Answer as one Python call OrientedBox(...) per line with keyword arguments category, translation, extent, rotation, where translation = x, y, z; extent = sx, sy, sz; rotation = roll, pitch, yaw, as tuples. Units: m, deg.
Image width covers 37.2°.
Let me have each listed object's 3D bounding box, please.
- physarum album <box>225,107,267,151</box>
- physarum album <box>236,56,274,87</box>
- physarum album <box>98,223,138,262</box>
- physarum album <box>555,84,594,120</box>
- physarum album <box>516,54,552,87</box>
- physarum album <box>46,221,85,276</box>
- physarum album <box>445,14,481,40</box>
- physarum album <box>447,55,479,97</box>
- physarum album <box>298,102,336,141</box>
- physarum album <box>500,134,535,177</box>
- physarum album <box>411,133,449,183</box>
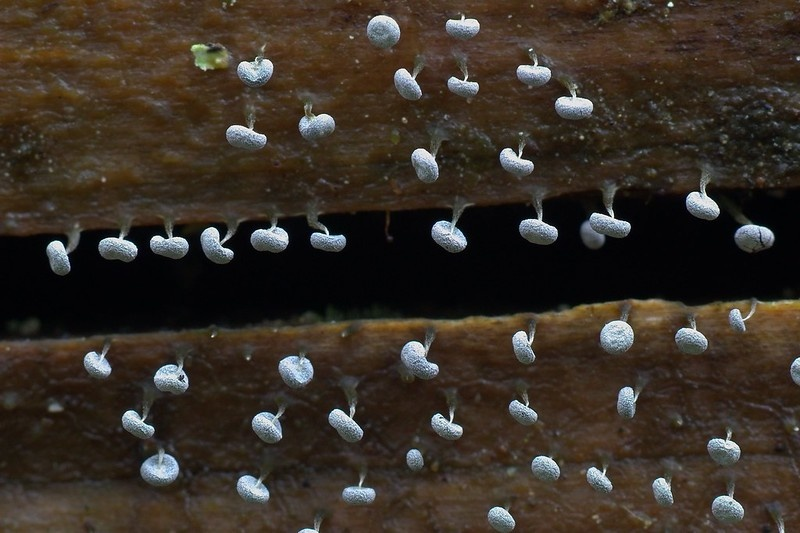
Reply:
OrientedBox(category="physarum album", translation=(-0.438, -0.395, 3.414), extent=(0.120, 0.065, 0.106), rotation=(19, 84, -13))
OrientedBox(category="physarum album", translation=(-0.415, -0.554, 3.412), extent=(0.102, 0.100, 0.110), rotation=(1, 55, -8))
OrientedBox(category="physarum album", translation=(-0.805, -0.070, 3.413), extent=(0.092, 0.043, 0.106), rotation=(17, 97, -17))
OrientedBox(category="physarum album", translation=(0.485, -0.459, 3.367), extent=(0.102, 0.093, 0.083), rotation=(-1, 97, -1))
OrientedBox(category="physarum album", translation=(0.374, -0.551, 3.378), extent=(0.084, 0.077, 0.071), rotation=(3, 96, -2))
OrientedBox(category="physarum album", translation=(-0.963, -0.051, 3.421), extent=(0.091, 0.068, 0.161), rotation=(57, 34, -28))
OrientedBox(category="physarum album", translation=(0.175, -0.673, 3.379), extent=(0.074, 0.075, 0.047), rotation=(0, 84, -38))
OrientedBox(category="physarum album", translation=(0.175, -0.529, 3.398), extent=(0.085, 0.049, 0.123), rotation=(22, 44, -23))
OrientedBox(category="physarum album", translation=(-0.243, -0.417, 3.410), extent=(0.113, 0.098, 0.097), rotation=(-5, 103, 11))
OrientedBox(category="physarum album", translation=(0.330, -0.319, 3.403), extent=(0.090, 0.056, 0.109), rotation=(23, 77, 3))
OrientedBox(category="physarum album", translation=(0.085, -0.314, 3.380), extent=(0.091, 0.065, 0.138), rotation=(37, 55, -32))
